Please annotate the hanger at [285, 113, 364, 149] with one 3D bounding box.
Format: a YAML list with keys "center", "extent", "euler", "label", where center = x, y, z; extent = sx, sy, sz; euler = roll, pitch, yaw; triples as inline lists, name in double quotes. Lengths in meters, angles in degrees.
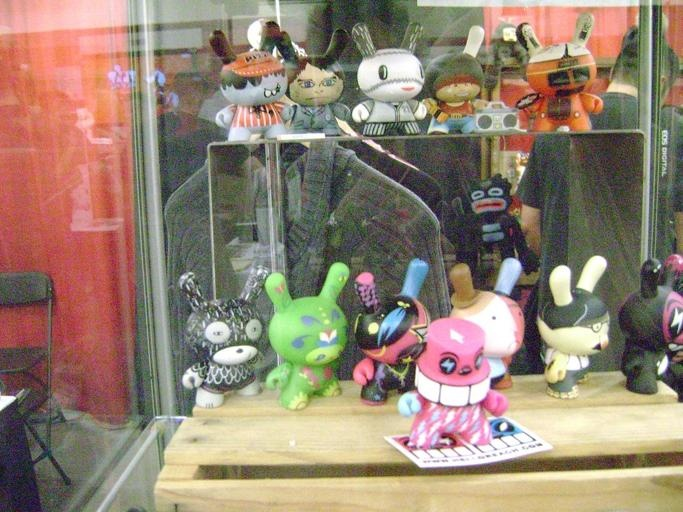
- center: [-0.044, -0.271, 1.450]
  extent: [0.178, 0.058, 0.110]
  euler: [-5, 13, -3]
  label: "hanger"
